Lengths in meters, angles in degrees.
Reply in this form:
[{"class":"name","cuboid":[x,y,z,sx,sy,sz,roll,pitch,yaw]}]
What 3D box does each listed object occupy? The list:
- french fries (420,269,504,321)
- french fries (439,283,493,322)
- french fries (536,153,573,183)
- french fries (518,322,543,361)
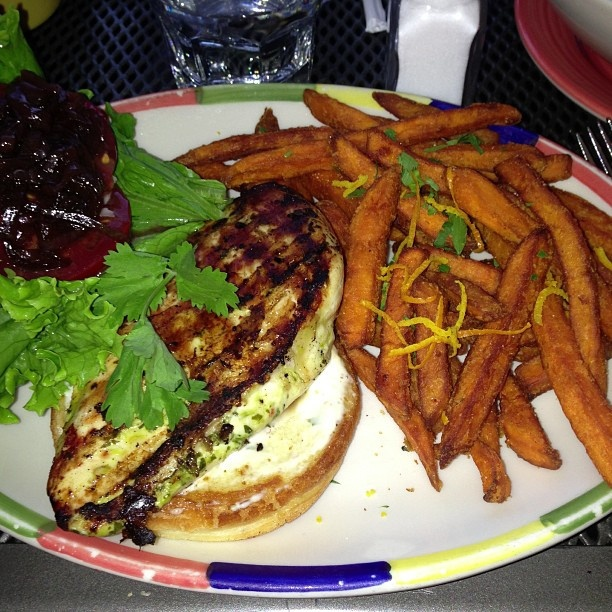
[{"class":"french fries","cuboid":[0.644,-0.033,2.655,0.384,0.121,0.091,33,-12,22]},{"class":"french fries","cuboid":[0.672,-0.010,2.635,0.243,0.096,0.069,27,9,30]},{"class":"french fries","cuboid":[1.063,-0.585,2.801,0.156,0.108,0.031,-4,15,5]},{"class":"french fries","cuboid":[0.920,0.156,2.728,0.125,0.121,0.035,0,22,4]}]
